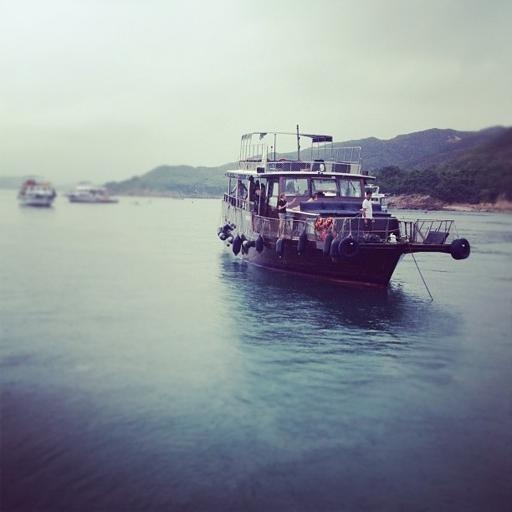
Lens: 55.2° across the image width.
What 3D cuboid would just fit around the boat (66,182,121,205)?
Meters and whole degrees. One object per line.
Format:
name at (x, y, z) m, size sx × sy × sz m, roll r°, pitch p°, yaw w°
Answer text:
boat at (-48.550, -17.553, 142.346) m, size 12.232 × 4.947 × 7.993 m, roll -2°, pitch 10°, yaw -24°

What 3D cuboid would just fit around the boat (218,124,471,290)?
boat at (4.311, -2.217, 24.044) m, size 14.109 × 6.542 × 5.164 m, roll 4°, pitch -4°, yaw -36°

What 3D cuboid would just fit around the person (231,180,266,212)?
person at (0.014, -3.029, 25.218) m, size 1.094 × 1.618 × 2.944 m, roll -2°, pitch 6°, yaw -22°
